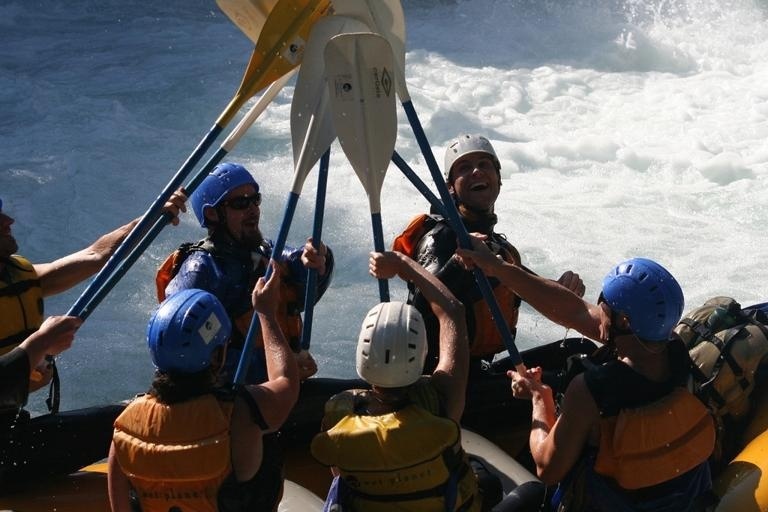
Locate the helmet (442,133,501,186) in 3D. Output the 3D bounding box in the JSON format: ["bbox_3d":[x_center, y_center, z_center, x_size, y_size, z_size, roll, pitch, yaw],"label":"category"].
[{"bbox_3d":[0.848,-1.011,7.317,0.399,0.584,0.453,1,-1,1],"label":"helmet"}]
